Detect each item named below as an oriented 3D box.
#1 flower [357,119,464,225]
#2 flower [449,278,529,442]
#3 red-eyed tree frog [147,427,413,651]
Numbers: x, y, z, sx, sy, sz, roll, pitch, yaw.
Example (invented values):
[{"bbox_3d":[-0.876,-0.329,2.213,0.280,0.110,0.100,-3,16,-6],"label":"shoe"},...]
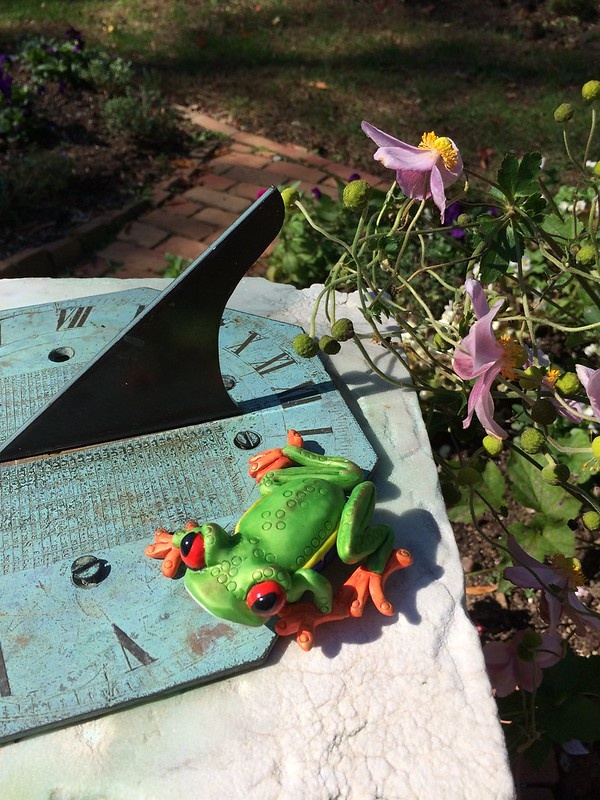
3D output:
[{"bbox_3d":[0.282,-0.578,1.986,0.246,0.228,0.371,10,28,8],"label":"flower"},{"bbox_3d":[0.377,-0.096,1.616,0.139,0.279,0.339,7,1,6],"label":"flower"},{"bbox_3d":[-0.027,0.328,2.048,0.637,0.183,0.623,27,52,18],"label":"red-eyed tree frog"}]
